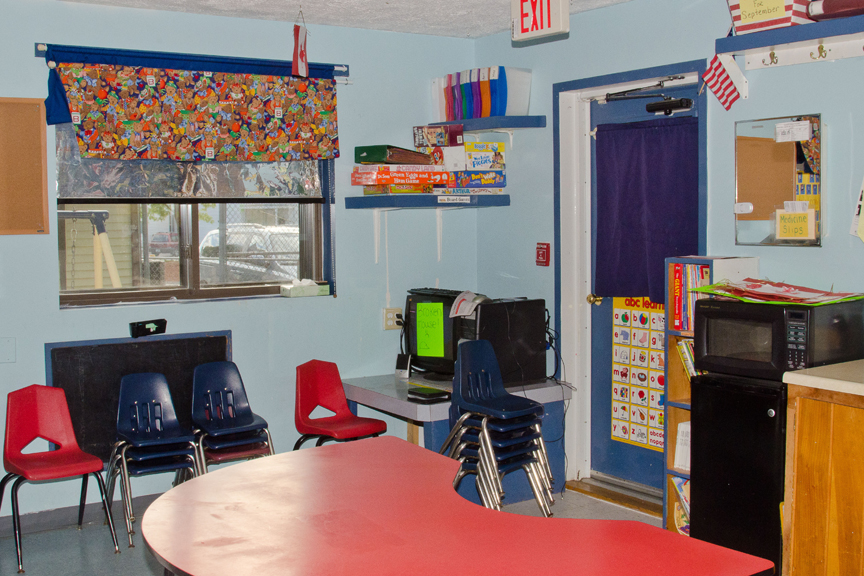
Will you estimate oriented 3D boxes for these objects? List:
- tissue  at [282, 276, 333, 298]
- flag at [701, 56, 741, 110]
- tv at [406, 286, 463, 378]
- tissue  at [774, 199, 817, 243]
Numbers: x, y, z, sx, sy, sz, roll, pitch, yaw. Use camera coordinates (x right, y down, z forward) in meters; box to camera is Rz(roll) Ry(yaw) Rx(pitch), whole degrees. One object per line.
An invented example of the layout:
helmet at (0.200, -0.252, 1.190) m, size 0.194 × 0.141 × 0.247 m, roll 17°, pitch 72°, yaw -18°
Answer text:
tissue  at (-0.988, -0.009, 6.137) m, size 0.380 × 0.124 × 0.155 m, roll 0°, pitch 6°, yaw -12°
flag at (1.695, -1.198, 4.538) m, size 0.164 × 0.281 × 0.194 m, roll 0°, pitch 6°, yaw -11°
tv at (0.023, 0.333, 5.897) m, size 0.366 × 0.685 × 0.686 m, roll 0°, pitch 0°, yaw -30°
tissue  at (2.141, -0.410, 4.623) m, size 0.219 × 0.208 × 0.053 m, roll 6°, pitch 5°, yaw 39°
